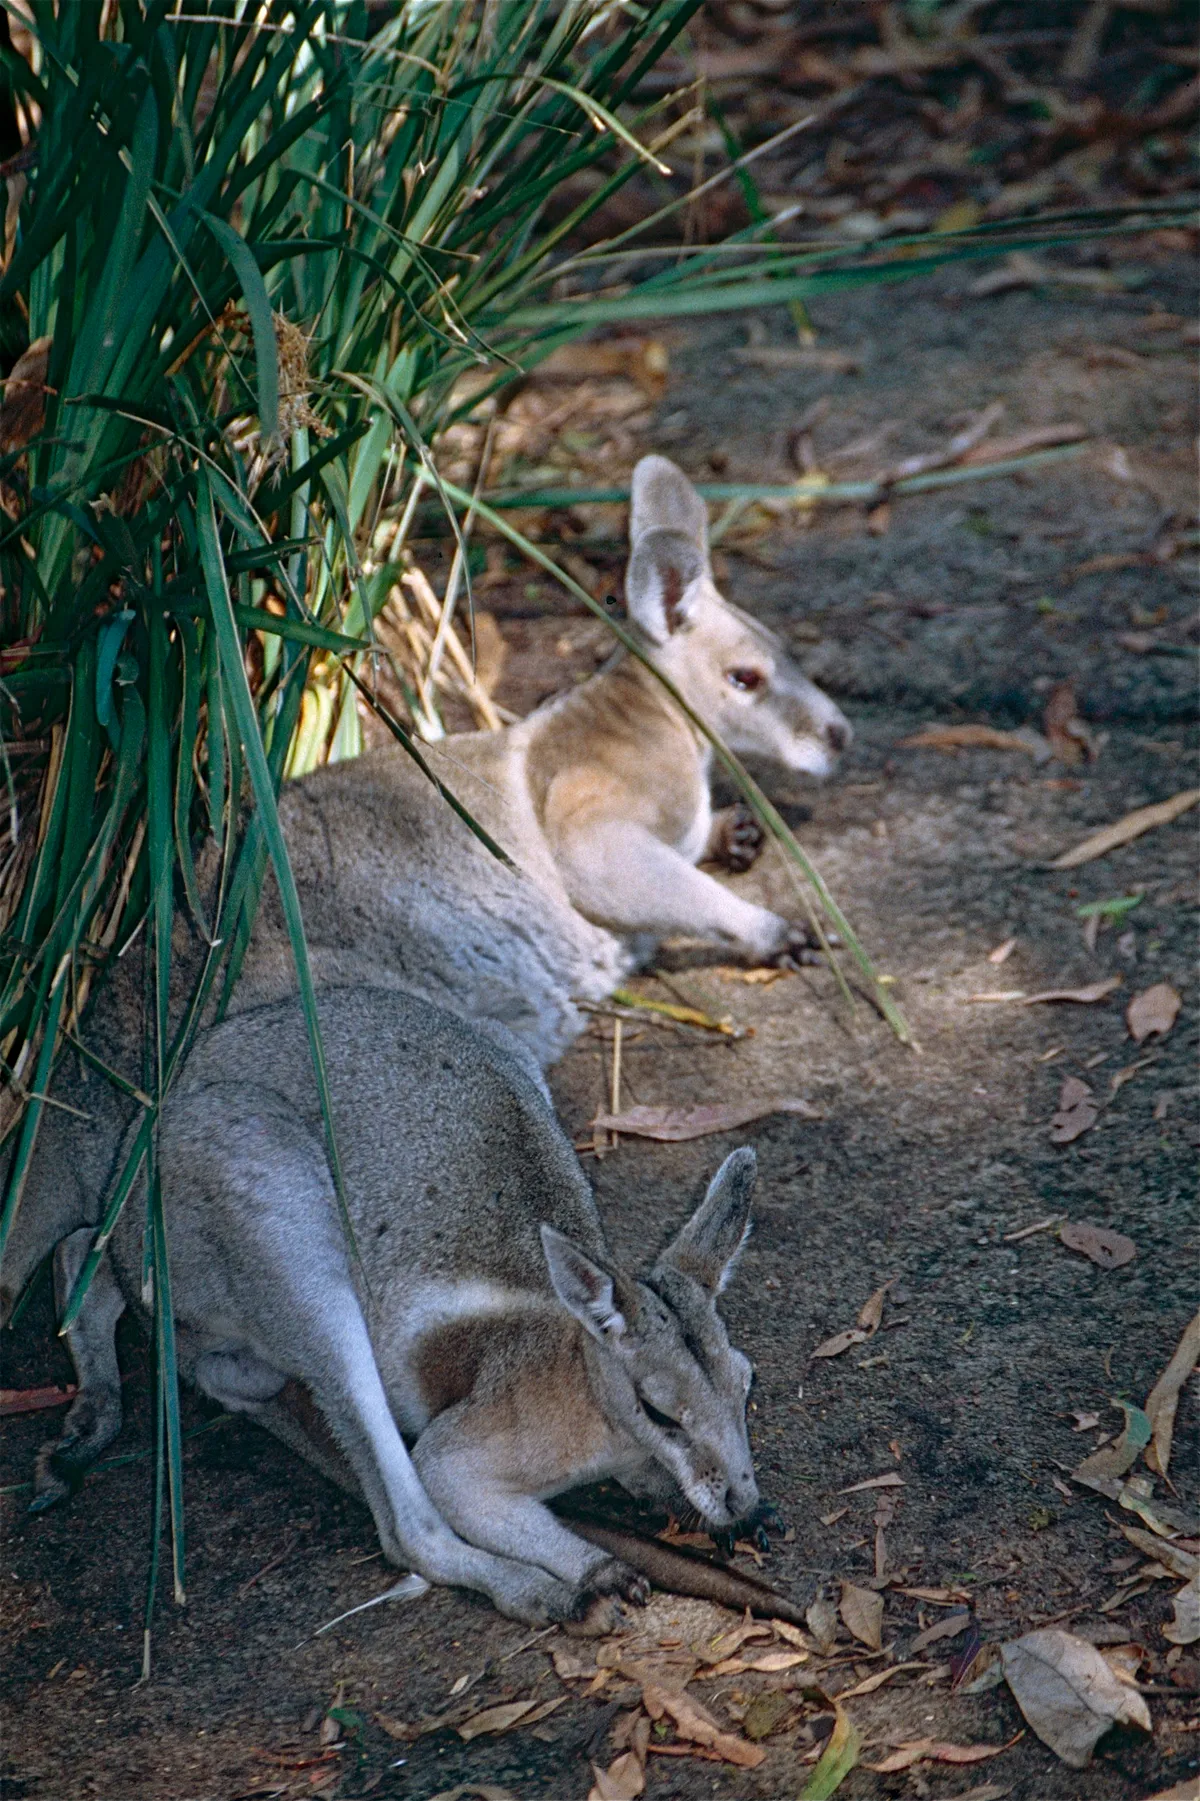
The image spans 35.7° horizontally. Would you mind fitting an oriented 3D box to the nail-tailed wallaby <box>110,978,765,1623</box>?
[{"bbox_3d":[-0.162,0.548,2.843,0.705,0.632,1.201,-17,36,-33],"label":"nail-tailed wallaby"}]
